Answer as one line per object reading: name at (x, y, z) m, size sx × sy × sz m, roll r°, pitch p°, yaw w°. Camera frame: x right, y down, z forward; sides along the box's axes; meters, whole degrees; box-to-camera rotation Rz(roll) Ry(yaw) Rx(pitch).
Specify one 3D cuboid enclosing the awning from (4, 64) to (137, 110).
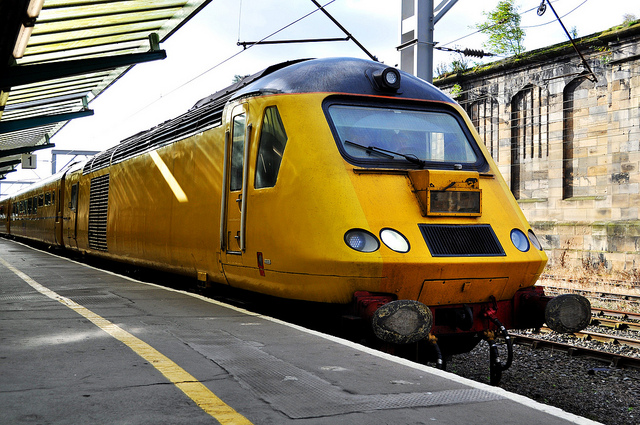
awning at (-8.500, -4.071, 15.402) m, size 4.751 × 0.081 × 1.587 m, roll -17°, pitch 18°, yaw 39°
